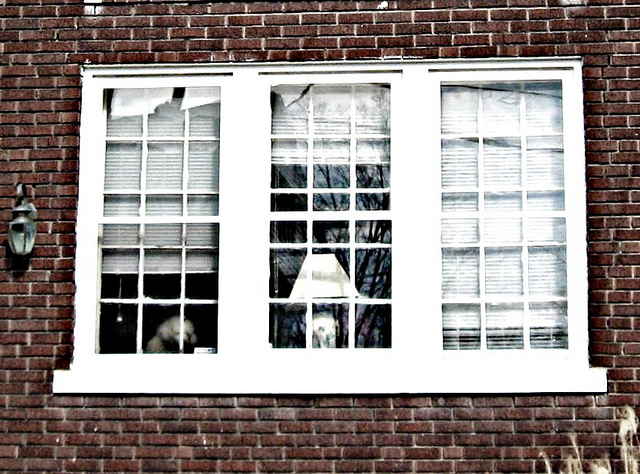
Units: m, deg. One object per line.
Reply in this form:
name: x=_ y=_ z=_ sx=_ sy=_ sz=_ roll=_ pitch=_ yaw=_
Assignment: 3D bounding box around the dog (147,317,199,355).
dog: x=-1.419 y=0.958 z=18.125 sx=0.395 sy=0.258 sz=0.386 roll=2 pitch=-3 yaw=-28
